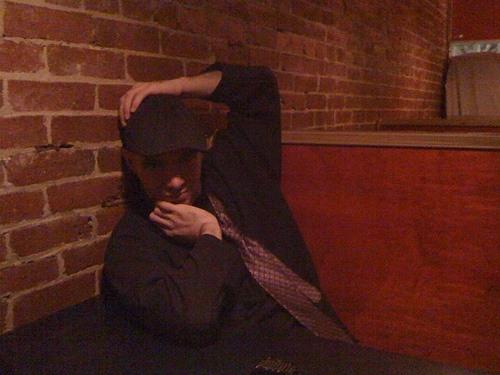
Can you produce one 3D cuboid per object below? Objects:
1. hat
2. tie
[{"bbox_3d":[-0.220,-0.184,1.040,0.214,0.140,0.295,-7,19,-24],"label":"hat"},{"bbox_3d":[-0.001,0.216,1.102,0.145,0.035,0.701,-30,70,-37],"label":"tie"}]
